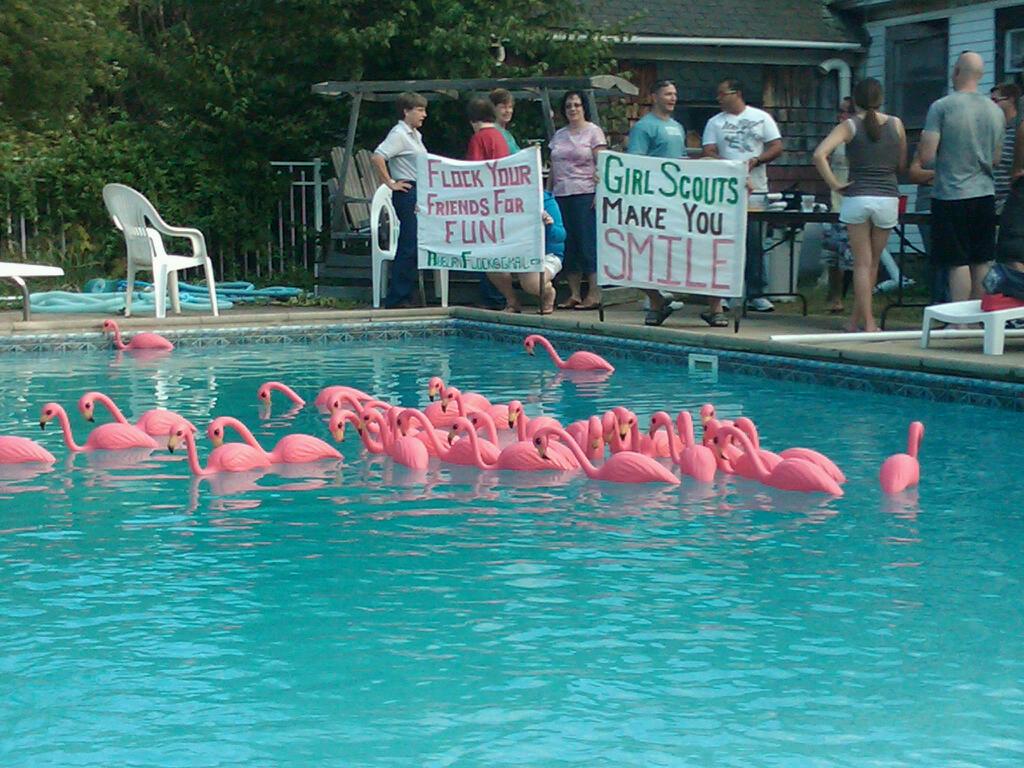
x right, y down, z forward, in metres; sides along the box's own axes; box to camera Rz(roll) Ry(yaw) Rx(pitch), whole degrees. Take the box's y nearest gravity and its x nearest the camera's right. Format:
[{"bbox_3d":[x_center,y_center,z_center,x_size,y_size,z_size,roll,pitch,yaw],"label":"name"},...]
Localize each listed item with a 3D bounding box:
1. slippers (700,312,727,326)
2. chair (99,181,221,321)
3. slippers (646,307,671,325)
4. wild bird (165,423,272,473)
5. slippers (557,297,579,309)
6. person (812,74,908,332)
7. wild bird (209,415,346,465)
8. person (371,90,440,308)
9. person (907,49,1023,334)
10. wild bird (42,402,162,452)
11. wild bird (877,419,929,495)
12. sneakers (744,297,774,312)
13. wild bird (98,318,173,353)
[{"bbox_3d":[2.007,-0.647,15.879,0.177,0.100,0.412,-1,3,-3],"label":"slippers"},{"bbox_3d":[-3.891,-1.439,17.481,1.074,1.419,1.731,-2,4,-17],"label":"chair"},{"bbox_3d":[1.486,-0.682,16.121,0.260,0.203,0.155,1,9,4],"label":"slippers"},{"bbox_3d":[-1.981,0.421,10.551,0.385,0.358,0.833,2,5,34],"label":"wild bird"},{"bbox_3d":[0.610,-0.893,17.855,0.283,0.096,0.092,1,3,24],"label":"slippers"},{"bbox_3d":[3.127,-1.587,14.272,0.752,2.253,0.912,0,4,12],"label":"person"},{"bbox_3d":[-1.690,0.362,10.912,1.015,0.369,0.341,-1,1,-21],"label":"wild bird"},{"bbox_3d":[-1.223,-1.992,17.602,0.542,2.304,1.133,-1,4,-4],"label":"person"},{"bbox_3d":[3.899,-1.787,13.913,0.740,2.130,0.658,0,4,16],"label":"person"},{"bbox_3d":[-2.883,0.291,11.194,0.806,0.344,0.342,-2,4,-17],"label":"wild bird"},{"bbox_3d":[2.536,0.457,10.283,0.227,0.328,0.607,4,29,30],"label":"wild bird"},{"bbox_3d":[2.737,-0.868,17.645,0.140,0.153,0.423,-2,1,-17],"label":"sneakers"},{"bbox_3d":[-3.872,-0.510,16.212,0.794,0.424,0.292,1,27,12],"label":"wild bird"}]
